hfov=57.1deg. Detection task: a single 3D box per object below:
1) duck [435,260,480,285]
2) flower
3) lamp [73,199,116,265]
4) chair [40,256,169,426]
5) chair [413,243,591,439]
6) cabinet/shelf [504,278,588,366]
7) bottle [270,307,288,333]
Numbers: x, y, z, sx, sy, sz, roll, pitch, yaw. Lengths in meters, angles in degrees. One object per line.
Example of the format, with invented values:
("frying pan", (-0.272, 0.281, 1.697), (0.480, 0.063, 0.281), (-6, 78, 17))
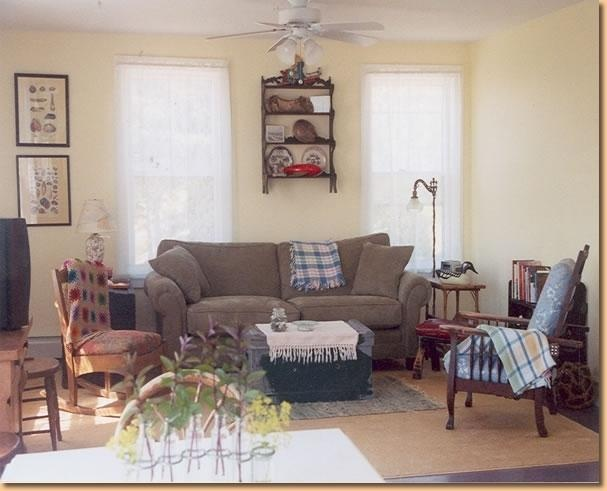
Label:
("duck", (1.516, 0.252, 5.293), (0.328, 0.152, 0.265), (0, -1, -16))
("flower", (-0.396, 0.600, 2.244), (0.600, 0.824, 0.289), (3, 20, -16))
("lamp", (-1.883, -0.114, 5.053), (0.304, 0.604, 0.472), (-2, 5, -20))
("chair", (-1.296, 0.598, 3.761), (0.796, 1.005, 0.667), (0, 0, 22))
("chair", (1.398, 0.626, 3.708), (0.951, 1.083, 0.779), (-2, -4, 21))
("cabinet/shelf", (1.840, 0.591, 4.354), (0.572, 0.725, 0.520), (1, -1, 2))
("bottle", (-0.173, 0.535, 3.969), (0.135, 0.176, 0.136), (1, -7, 0))
